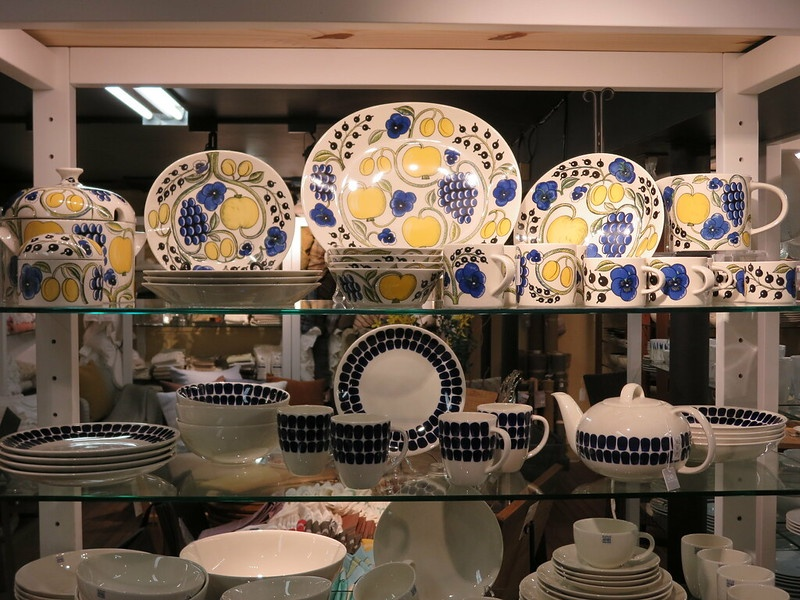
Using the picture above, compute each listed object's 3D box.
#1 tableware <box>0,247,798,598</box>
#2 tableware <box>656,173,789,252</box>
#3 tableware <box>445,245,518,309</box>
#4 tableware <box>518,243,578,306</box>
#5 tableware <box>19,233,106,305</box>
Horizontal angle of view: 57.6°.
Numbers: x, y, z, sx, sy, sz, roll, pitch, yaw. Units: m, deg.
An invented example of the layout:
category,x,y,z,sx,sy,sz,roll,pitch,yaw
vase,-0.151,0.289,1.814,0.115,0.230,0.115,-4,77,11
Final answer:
category,x,y,z,sx,sy,sz,roll,pitch,yaw
tableware,0.095,0.351,1.465,1.595,0.652,0.324,-1,1,-1
tableware,0.668,-0.173,1.488,0.233,0.174,0.166,-4,-6,22
tableware,0.159,-0.049,1.351,0.156,0.128,0.110,1,4,43
tableware,0.285,-0.052,1.411,0.116,0.133,0.141,2,9,24
tableware,-0.601,-0.046,1.287,0.119,0.120,0.123,0,0,-26
